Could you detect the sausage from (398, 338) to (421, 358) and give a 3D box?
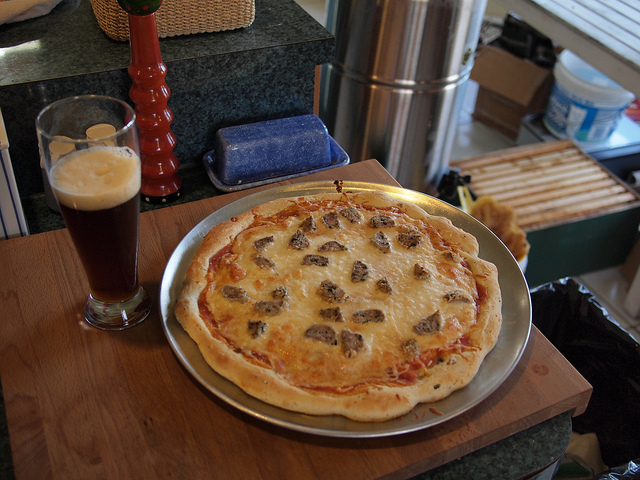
[{"bbox_3d":[0.177,0.214,0.995,0.034,0.010,0.035,3,64,-14],"label":"sausage"}]

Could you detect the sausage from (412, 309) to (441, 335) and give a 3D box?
[{"bbox_3d":[0.217,0.167,1.026,0.061,0.009,0.034,-28,69,-17],"label":"sausage"}]

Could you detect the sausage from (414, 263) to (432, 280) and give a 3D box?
[{"bbox_3d":[0.225,0.070,1.100,0.030,0.010,0.030,7,58,7],"label":"sausage"}]

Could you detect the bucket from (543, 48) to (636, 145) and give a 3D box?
[{"bbox_3d":[1.172,-0.602,2.286,0.260,0.435,0.390,-10,32,-16],"label":"bucket"}]

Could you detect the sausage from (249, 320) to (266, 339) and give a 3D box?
[{"bbox_3d":[-0.130,0.180,1.005,0.030,0.009,0.031,8,61,12],"label":"sausage"}]

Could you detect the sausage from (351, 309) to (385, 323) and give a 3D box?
[{"bbox_3d":[0.096,0.154,1.029,0.050,0.010,0.028,1,44,-2],"label":"sausage"}]

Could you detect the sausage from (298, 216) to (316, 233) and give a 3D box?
[{"bbox_3d":[-0.027,-0.035,1.198,0.028,0.014,0.037,8,50,13],"label":"sausage"}]

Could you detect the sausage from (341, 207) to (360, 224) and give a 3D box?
[{"bbox_3d":[0.074,-0.062,1.237,0.035,0.011,0.038,9,43,-6],"label":"sausage"}]

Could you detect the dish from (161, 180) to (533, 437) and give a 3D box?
[{"bbox_3d":[0.062,0.098,1.112,0.792,0.040,0.674,-9,48,-12],"label":"dish"}]

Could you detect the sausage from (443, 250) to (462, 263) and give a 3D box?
[{"bbox_3d":[0.300,0.037,1.155,0.023,0.012,0.033,-14,41,-28],"label":"sausage"}]

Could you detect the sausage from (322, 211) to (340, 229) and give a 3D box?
[{"bbox_3d":[0.026,-0.047,1.220,0.036,0.011,0.038,-4,59,-4],"label":"sausage"}]

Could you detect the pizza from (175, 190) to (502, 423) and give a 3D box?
[{"bbox_3d":[0.063,0.086,1.141,0.699,0.090,0.701,-27,47,-31],"label":"pizza"}]

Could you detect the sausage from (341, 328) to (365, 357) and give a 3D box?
[{"bbox_3d":[0.064,0.200,0.986,0.043,0.013,0.042,20,56,0],"label":"sausage"}]

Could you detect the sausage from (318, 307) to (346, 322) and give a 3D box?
[{"bbox_3d":[0.021,0.154,1.028,0.034,0.012,0.033,5,77,4],"label":"sausage"}]

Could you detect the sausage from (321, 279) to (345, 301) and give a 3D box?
[{"bbox_3d":[0.026,0.105,1.064,0.035,0.010,0.038,28,43,7],"label":"sausage"}]

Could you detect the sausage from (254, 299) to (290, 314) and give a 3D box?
[{"bbox_3d":[-0.101,0.132,1.027,0.050,0.017,0.030,-1,21,-6],"label":"sausage"}]

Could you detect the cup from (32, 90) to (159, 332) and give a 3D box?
[{"bbox_3d":[-0.439,-0.055,1.032,0.181,0.381,0.329,-8,47,-11],"label":"cup"}]

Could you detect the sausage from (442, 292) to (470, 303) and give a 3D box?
[{"bbox_3d":[0.285,0.121,1.076,0.041,0.011,0.024,1,41,-29],"label":"sausage"}]

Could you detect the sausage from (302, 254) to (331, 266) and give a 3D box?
[{"bbox_3d":[-0.010,0.045,1.124,0.041,0.008,0.027,7,64,5],"label":"sausage"}]
